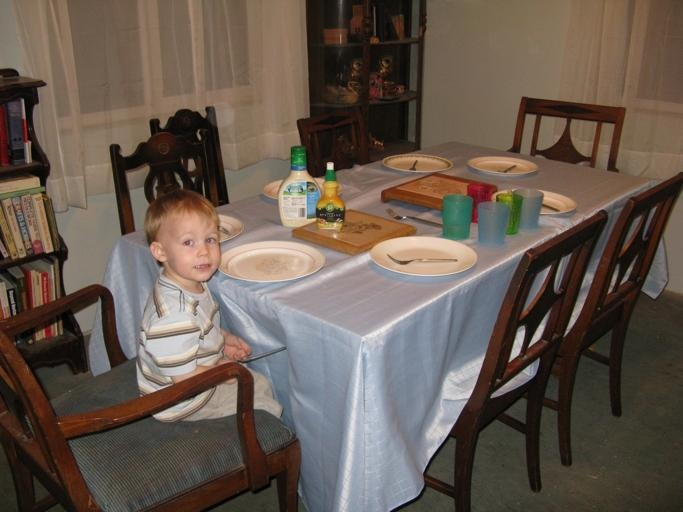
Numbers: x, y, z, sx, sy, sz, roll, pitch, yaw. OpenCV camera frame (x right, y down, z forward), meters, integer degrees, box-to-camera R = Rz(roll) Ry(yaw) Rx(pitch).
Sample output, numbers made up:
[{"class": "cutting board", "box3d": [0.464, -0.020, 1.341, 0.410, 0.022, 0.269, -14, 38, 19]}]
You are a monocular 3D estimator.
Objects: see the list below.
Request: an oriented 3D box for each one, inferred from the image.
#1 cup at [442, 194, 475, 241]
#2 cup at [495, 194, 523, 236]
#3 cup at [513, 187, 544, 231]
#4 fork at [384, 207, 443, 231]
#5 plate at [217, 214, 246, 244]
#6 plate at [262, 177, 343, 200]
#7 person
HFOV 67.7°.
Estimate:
[{"class": "cup", "box3d": [0.345, -0.131, 1.652, 0.129, 0.151, 0.126, 0, 18, 0]}, {"class": "cup", "box3d": [0.534, -0.134, 1.628, 0.085, 0.137, 0.091, -2, 23, 1]}, {"class": "cup", "box3d": [0.626, -0.180, 1.772, 0.126, 0.145, 0.129, 1, 20, 0]}, {"class": "fork", "box3d": [0.250, -0.128, 1.762, 0.174, 0.021, 0.024, 26, 53, 22]}, {"class": "plate", "box3d": [-0.371, -0.095, 1.714, 0.095, 0.013, 0.095, 12, 31, 17]}, {"class": "plate", "box3d": [-0.201, -0.274, 2.037, 0.179, 0.024, 0.178, -11, 26, -25]}, {"class": "person", "box3d": [-0.362, 0.049, 1.653, 0.557, 0.818, 0.507, -1, 19, -19]}]
